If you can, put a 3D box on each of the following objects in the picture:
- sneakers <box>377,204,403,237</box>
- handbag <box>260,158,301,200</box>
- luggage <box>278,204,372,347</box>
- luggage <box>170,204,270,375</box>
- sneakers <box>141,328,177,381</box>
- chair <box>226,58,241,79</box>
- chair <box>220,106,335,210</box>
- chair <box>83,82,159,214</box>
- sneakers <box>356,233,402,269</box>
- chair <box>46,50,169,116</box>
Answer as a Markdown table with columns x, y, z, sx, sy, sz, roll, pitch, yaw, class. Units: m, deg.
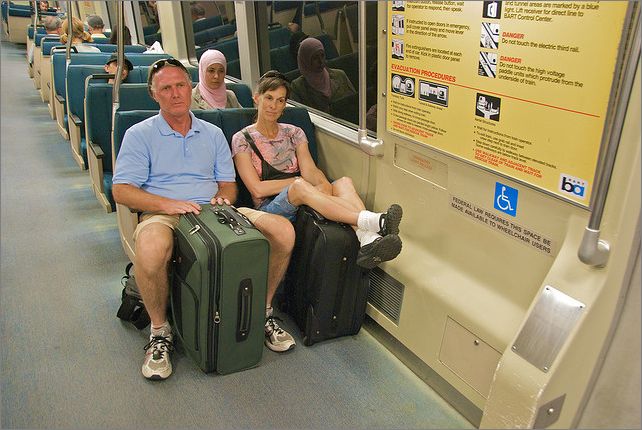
| x | y | z | sx | sy | sz | roll | pitch | yaw | class |
| --- | --- | --- | --- | --- | --- | --- | --- | --- | --- |
| 0.444 | 0.028 | 2.856 | 0.095 | 0.271 | 0.117 | -7 | 19 | -29 | sneakers |
| -0.335 | -0.277 | 3.442 | 0.255 | 0.360 | 0.188 | -15 | 6 | -15 | handbag |
| 0.035 | 0.409 | 3.155 | 0.432 | 0.787 | 0.739 | -2 | 26 | -19 | luggage |
| -0.669 | 0.489 | 2.852 | 0.465 | 0.952 | 0.674 | -4 | 38 | -23 | luggage |
| -1.091 | 0.935 | 2.960 | 0.150 | 0.178 | 0.371 | 3 | 26 | -15 | sneakers |
| -1.018 | -1.701 | 5.123 | 0.196 | 0.292 | 0.149 | -5 | 42 | -9 | chair |
| -0.432 | -0.354 | 3.725 | 0.937 | 0.953 | 0.768 | -15 | 32 | -20 | chair |
| -1.832 | -0.662 | 4.191 | 0.767 | 1.024 | 0.732 | -10 | 28 | -29 | chair |
| 0.372 | 0.225 | 2.872 | 0.327 | 0.160 | 0.159 | -22 | 19 | 8 | sneakers |
| -2.202 | -1.341 | 4.482 | 1.367 | 0.623 | 0.573 | -4 | 22 | -19 | chair |
